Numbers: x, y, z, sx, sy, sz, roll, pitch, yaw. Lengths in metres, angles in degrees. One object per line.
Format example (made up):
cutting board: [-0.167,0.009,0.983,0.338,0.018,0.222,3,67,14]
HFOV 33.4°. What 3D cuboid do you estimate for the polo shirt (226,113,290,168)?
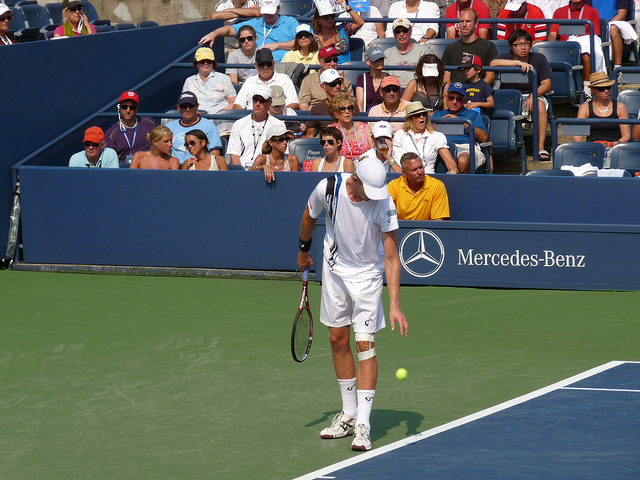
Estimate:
polo shirt: [-0.905,-1.481,15.449,0.916,0.824,0.358,3,34,-2]

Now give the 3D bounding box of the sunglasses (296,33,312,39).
sunglasses: [-0.266,-3.286,17.260,0.226,0.090,0.085,-4,14,0]

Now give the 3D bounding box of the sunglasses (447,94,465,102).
sunglasses: [1.902,-1.991,15.147,0.210,0.091,0.087,-2,14,7]

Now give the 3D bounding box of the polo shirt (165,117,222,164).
polo shirt: [-1.874,-1.448,15.641,0.944,0.632,0.485,5,16,30]

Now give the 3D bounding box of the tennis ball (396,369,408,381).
tennis ball: [0.758,1.248,10.021,0.102,0.113,0.106,-2,11,0]

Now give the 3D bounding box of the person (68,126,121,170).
person: [-3.246,-1.306,15.301,0.694,0.602,0.453,-7,14,-14]

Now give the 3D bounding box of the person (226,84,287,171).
person: [-0.912,-1.507,15.262,0.798,1.332,0.796,4,14,-10]

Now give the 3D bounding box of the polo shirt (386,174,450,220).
polo shirt: [1.189,-0.517,13.974,0.955,0.640,0.614,2,6,-10]

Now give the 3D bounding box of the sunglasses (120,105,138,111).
sunglasses: [-2.819,-1.936,15.684,0.239,0.096,0.131,-5,14,-5]

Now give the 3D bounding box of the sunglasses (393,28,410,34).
sunglasses: [1.273,-3.313,17.033,0.222,0.072,0.084,-1,14,11]

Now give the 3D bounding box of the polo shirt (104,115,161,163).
polo shirt: [-2.724,-1.445,15.590,0.585,0.497,0.279,-14,6,-7]

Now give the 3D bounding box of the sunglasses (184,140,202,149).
sunglasses: [-1.790,-1.334,14.877,0.239,0.106,0.103,3,15,24]

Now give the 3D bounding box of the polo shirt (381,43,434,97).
polo shirt: [1.356,-2.702,17.329,0.748,0.946,0.441,7,20,14]

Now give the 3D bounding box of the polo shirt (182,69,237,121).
polo shirt: [-1.815,-2.430,17.228,0.814,0.826,0.505,3,57,2]

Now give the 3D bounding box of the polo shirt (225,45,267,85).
polo shirt: [-1.175,-2.920,18.037,0.798,0.645,0.472,-12,14,14]

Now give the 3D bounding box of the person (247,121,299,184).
person: [-0.648,-1.250,14.899,0.672,0.728,1.000,-4,14,-2]

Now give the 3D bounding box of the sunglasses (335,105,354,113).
sunglasses: [0.331,-1.808,14.793,0.248,0.107,0.091,-6,14,-9]

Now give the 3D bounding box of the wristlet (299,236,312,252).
wristlet: [-0.150,0.053,10.450,0.101,0.118,0.109,1,3,-17]

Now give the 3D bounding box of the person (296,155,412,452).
person: [0.330,0.566,10.192,1.076,2.651,1.062,5,12,-2]

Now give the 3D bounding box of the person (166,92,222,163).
person: [-1.920,-1.497,15.602,0.886,1.398,0.666,-1,-3,12]

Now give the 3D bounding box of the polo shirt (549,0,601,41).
polo shirt: [4.300,-3.696,18.192,0.810,0.844,0.473,1,-13,18]

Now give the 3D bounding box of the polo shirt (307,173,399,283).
polo shirt: [0.296,-0.143,10.084,0.883,0.973,0.521,11,28,17]

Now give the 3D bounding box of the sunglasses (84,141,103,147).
sunglasses: [-3.254,-1.366,15.236,0.206,0.100,0.127,-5,14,-4]

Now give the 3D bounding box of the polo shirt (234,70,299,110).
polo shirt: [-0.871,-2.324,16.606,1.017,0.552,0.445,1,14,18]
